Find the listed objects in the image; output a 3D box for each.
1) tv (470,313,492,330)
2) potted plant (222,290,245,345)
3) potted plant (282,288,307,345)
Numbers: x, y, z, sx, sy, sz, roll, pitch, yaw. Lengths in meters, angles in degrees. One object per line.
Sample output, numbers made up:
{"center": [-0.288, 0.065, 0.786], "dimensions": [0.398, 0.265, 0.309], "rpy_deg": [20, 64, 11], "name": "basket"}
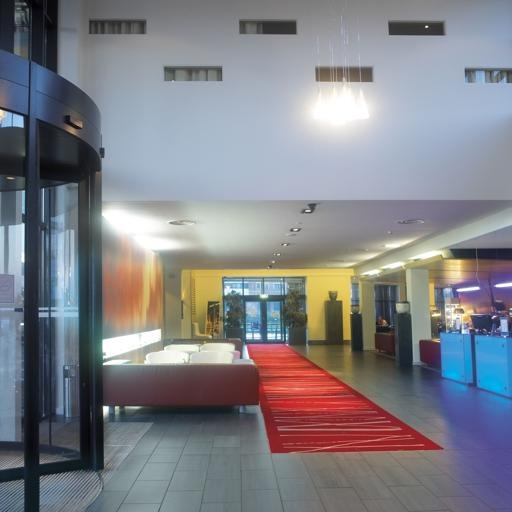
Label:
{"center": [5.005, 1.455, 9.730], "dimensions": [0.188, 0.329, 0.550], "rpy_deg": [2, -7, -24], "name": "tv"}
{"center": [-1.022, 2.781, 20.578], "dimensions": [1.019, 2.373, 0.976], "rpy_deg": [-1, -6, 7], "name": "potted plant"}
{"center": [1.816, 2.766, 20.086], "dimensions": [1.004, 2.399, 0.692], "rpy_deg": [-1, -6, 4], "name": "potted plant"}
